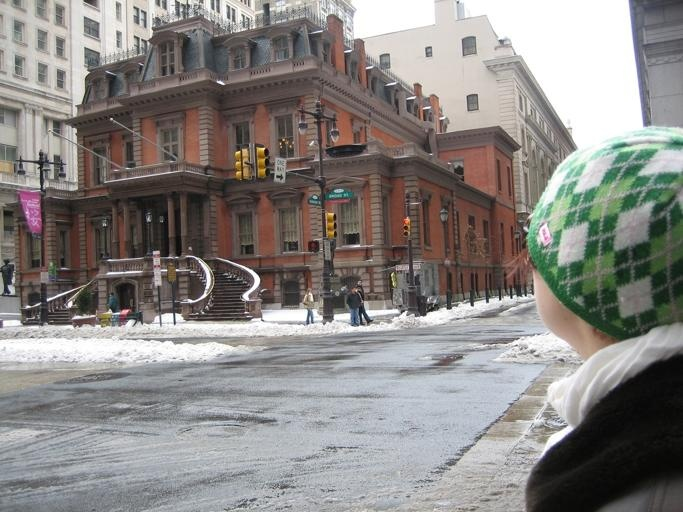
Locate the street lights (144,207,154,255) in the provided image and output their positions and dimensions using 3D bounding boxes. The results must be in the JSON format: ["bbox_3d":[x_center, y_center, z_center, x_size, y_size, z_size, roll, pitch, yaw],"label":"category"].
[{"bbox_3d":[-11.587,-1.562,42.211,0.441,2.484,0.976,-3,-4,-21],"label":"street lights"}]

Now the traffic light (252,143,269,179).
[{"bbox_3d":[-2.500,-2.968,21.716,0.442,1.118,1.210,-4,-5,-7],"label":"traffic light"}]

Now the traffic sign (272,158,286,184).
[{"bbox_3d":[-2.153,-3.063,24.503,0.335,0.867,0.987,-5,-4,3],"label":"traffic sign"}]
